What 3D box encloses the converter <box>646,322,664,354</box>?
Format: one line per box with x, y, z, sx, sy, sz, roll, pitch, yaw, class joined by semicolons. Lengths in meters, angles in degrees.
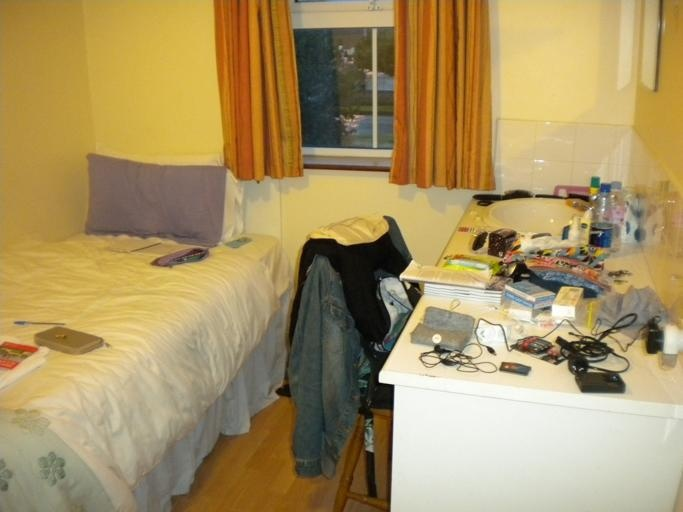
0.900;0.250;1.534;0.050;0.087;0.052;-3;-37;30;converter

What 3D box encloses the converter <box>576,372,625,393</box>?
0.700;0.340;1.456;0.126;0.035;0.075;0;12;4;converter

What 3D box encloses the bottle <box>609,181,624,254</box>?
1.092;-0.155;2.129;0.065;0.280;0.070;-5;8;1;bottle

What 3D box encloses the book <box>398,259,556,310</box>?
0.465;0.101;1.845;0.305;0.045;0.211;8;21;16;book

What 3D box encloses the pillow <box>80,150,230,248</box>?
-1.131;-0.334;3.258;0.805;0.473;0.140;5;4;-8;pillow

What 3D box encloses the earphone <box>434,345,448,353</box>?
0.294;0.276;1.598;0.031;0.019;0.014;5;-31;15;earphone

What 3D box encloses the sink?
0.986;-0.240;2.751;0.361;0.101;0.360;0;5;-33;sink
